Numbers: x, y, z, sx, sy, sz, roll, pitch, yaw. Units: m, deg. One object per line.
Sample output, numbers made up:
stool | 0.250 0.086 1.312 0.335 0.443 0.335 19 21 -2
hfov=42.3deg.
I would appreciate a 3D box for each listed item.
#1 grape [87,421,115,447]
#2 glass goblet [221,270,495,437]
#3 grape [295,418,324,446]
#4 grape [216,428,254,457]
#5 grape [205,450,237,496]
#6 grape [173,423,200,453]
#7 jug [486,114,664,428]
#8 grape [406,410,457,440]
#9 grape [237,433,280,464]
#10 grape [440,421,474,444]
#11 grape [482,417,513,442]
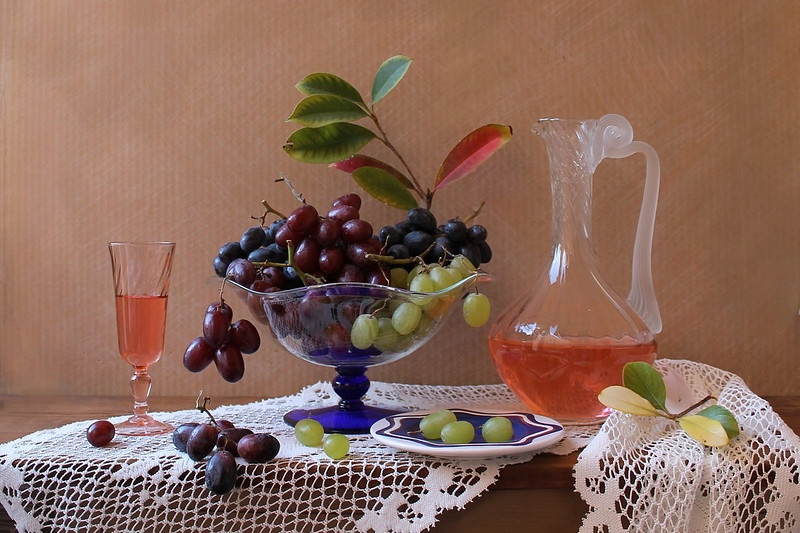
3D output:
grape | -0.616 0.345 2.123 0.043 0.042 0.057 -8 -39 -4
glass goblet | -0.110 0.145 2.257 0.447 0.239 0.393 0 -5 -13
grape | -0.185 0.342 2.121 0.053 0.069 0.052 -2 -2 -3
grape | -0.333 0.357 2.080 0.062 0.034 0.046 5 2 -30
grape | -0.351 0.408 2.023 0.062 0.081 0.047 -1 13 -9
grape | -0.433 0.352 2.094 0.046 0.035 0.060 -1 -4 9
jug | 0.398 -0.006 2.308 0.415 0.647 0.383 -4 6 -5
grape | 0.075 0.323 2.109 0.067 0.051 0.050 -2 1 -13
grape | -0.282 0.363 2.047 0.061 0.038 0.064 0 -3 -11
grape | 0.114 0.335 2.082 0.053 0.039 0.039 5 1 -22
grape | 0.200 0.331 2.105 0.042 0.042 0.054 -4 -22 37
